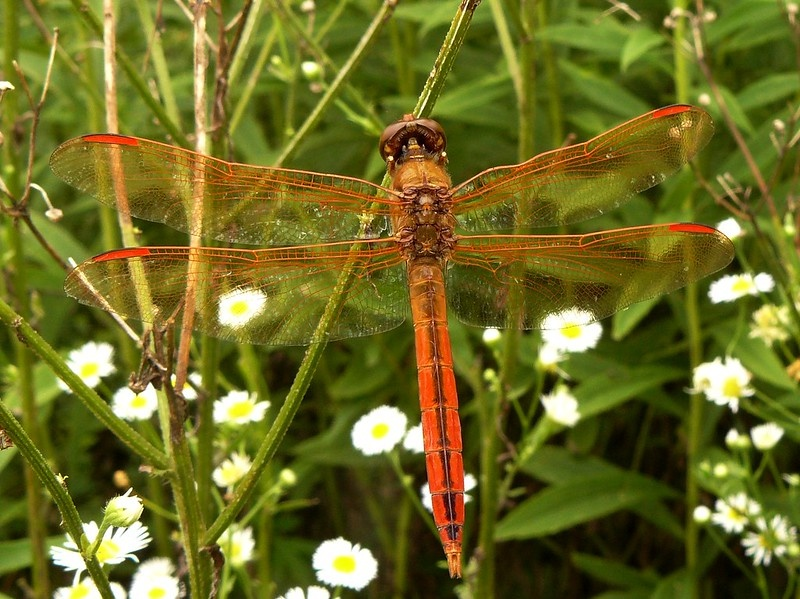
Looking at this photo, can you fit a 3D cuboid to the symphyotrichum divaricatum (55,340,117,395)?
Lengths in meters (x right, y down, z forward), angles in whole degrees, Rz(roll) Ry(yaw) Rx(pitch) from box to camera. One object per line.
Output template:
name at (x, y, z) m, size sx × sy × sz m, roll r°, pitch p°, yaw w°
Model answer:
symphyotrichum divaricatum at (-0.662, 0.136, 2.010) m, size 0.120 × 0.060 × 0.155 m, roll 6°, pitch 31°, yaw 10°

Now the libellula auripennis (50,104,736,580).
libellula auripennis at (-0.018, -0.111, 1.657) m, size 1.215 × 0.971 × 0.458 m, roll -8°, pitch 15°, yaw -13°

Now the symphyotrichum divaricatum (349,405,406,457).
symphyotrichum divaricatum at (-0.048, 0.291, 2.031) m, size 0.124 × 0.024 × 0.134 m, roll 17°, pitch 15°, yaw 1°
